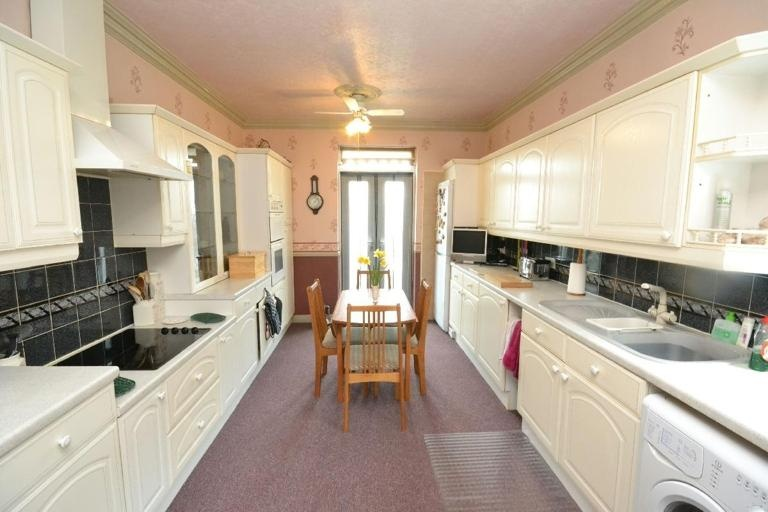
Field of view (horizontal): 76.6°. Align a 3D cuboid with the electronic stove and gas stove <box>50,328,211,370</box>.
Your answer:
[{"bbox_3d":[-1.765,0.648,3.475,0.739,0.152,0.819,1,4,12],"label":"electronic stove and gas stove"}]

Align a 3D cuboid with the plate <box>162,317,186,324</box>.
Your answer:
[{"bbox_3d":[-1.702,0.522,3.947,0.188,0.028,0.176,0,4,-3],"label":"plate"}]

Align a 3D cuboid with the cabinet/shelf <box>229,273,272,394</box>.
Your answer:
[{"bbox_3d":[-1.251,0.721,4.507,0.335,0.656,0.964,-2,10,-5],"label":"cabinet/shelf"}]

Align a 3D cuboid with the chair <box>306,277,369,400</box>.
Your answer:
[{"bbox_3d":[-0.395,0.775,4.644,0.650,0.974,0.646,-1,6,-13],"label":"chair"}]

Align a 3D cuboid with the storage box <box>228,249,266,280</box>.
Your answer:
[{"bbox_3d":[-1.394,0.090,4.884,0.234,0.192,0.359,1,1,1],"label":"storage box"}]

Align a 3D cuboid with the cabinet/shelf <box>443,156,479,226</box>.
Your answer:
[{"bbox_3d":[0.903,-0.732,5.648,0.279,0.727,0.740,-1,5,-3],"label":"cabinet/shelf"}]

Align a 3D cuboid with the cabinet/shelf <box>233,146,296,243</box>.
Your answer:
[{"bbox_3d":[-1.336,-0.689,5.338,0.353,1.083,1.119,-1,9,-4],"label":"cabinet/shelf"}]

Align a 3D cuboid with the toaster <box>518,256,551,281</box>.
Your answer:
[{"bbox_3d":[1.467,0.103,4.767,0.199,0.217,0.289,-2,6,-10],"label":"toaster"}]

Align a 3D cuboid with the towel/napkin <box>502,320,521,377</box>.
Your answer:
[{"bbox_3d":[1.051,0.762,3.962,0.119,0.375,0.363,2,7,5],"label":"towel/napkin"}]

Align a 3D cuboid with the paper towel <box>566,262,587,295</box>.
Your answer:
[{"bbox_3d":[1.639,0.188,4.100,0.176,0.270,0.108,-1,5,-3],"label":"paper towel"}]

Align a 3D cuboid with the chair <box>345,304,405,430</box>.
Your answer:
[{"bbox_3d":[-0.111,0.833,4.273,0.635,1.115,0.679,1,12,3],"label":"chair"}]

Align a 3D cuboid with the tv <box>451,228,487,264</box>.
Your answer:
[{"bbox_3d":[0.981,-0.142,5.623,0.381,0.394,0.137,2,6,13],"label":"tv"}]

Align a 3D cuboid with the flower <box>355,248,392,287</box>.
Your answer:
[{"bbox_3d":[-0.125,0.114,5.811,0.502,0.704,0.371,0,-1,-5],"label":"flower"}]

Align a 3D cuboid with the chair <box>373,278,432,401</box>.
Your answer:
[{"bbox_3d":[0.181,0.610,4.505,0.448,0.723,0.438,4,5,-9],"label":"chair"}]

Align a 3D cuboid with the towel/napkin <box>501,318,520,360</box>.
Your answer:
[{"bbox_3d":[1.039,0.689,4.063,0.093,0.293,0.287,11,8,25],"label":"towel/napkin"}]
